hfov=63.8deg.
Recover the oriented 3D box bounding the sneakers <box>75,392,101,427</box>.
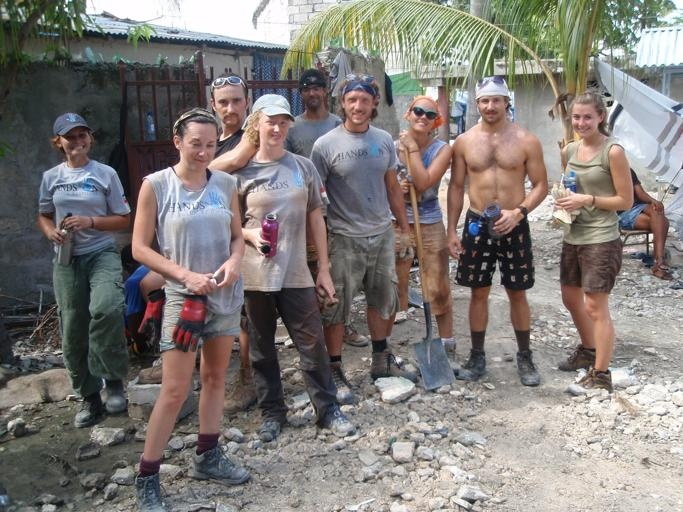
[{"bbox_3d":[-2.177,1.342,4.739,0.132,0.198,0.336,1,0,8],"label":"sneakers"}]

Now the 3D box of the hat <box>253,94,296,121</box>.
[{"bbox_3d":[-0.514,-1.127,4.101,0.287,0.192,0.269,-5,11,-10],"label":"hat"}]

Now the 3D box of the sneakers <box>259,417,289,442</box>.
[{"bbox_3d":[-0.552,1.360,4.320,0.090,0.115,0.264,-1,-3,12],"label":"sneakers"}]

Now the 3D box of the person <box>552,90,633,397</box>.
[{"bbox_3d":[2.266,-0.153,4.997,0.651,2.646,0.770,-2,11,2],"label":"person"}]

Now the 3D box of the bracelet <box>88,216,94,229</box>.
[{"bbox_3d":[-2.198,-0.299,4.836,0.043,0.098,0.030,-11,14,-37],"label":"bracelet"}]

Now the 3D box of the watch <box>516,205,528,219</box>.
[{"bbox_3d":[1.613,-0.399,4.930,0.074,0.116,0.105,-30,6,-6],"label":"watch"}]

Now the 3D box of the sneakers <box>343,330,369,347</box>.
[{"bbox_3d":[0.152,0.866,5.837,0.254,0.113,0.129,4,10,23],"label":"sneakers"}]

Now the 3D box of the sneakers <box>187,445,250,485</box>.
[{"bbox_3d":[-0.856,1.476,3.927,0.431,0.228,0.198,7,5,4],"label":"sneakers"}]

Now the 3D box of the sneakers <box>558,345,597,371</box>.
[{"bbox_3d":[2.315,0.993,5.355,0.438,0.276,0.149,-6,10,27],"label":"sneakers"}]

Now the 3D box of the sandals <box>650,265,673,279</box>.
[{"bbox_3d":[4.722,0.233,8.082,0.227,0.162,0.248,-2,11,5],"label":"sandals"}]

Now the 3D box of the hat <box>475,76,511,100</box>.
[{"bbox_3d":[1.357,-1.525,4.927,0.200,0.240,0.078,-1,18,16],"label":"hat"}]

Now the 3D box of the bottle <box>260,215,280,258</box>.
[{"bbox_3d":[-0.528,-0.150,4.050,0.137,0.334,0.176,-4,11,-5],"label":"bottle"}]

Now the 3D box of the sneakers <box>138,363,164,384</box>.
[{"bbox_3d":[-1.863,1.164,5.364,0.303,0.102,0.193,0,2,43],"label":"sneakers"}]

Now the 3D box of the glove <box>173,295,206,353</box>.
[{"bbox_3d":[-0.955,0.415,3.467,0.173,0.353,0.078,14,-28,-5],"label":"glove"}]

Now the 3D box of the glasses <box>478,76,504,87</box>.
[{"bbox_3d":[1.330,-1.569,4.904,0.215,0.092,0.220,0,11,12],"label":"glasses"}]

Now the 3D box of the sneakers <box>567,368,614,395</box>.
[{"bbox_3d":[2.256,1.124,4.956,0.490,0.233,0.181,-5,-1,5],"label":"sneakers"}]

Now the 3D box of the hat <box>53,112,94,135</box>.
[{"bbox_3d":[-2.408,-1.183,4.888,0.270,0.196,0.299,-7,12,-22],"label":"hat"}]

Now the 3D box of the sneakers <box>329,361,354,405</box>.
[{"bbox_3d":[-0.050,1.112,4.831,0.132,0.283,0.399,-18,17,-10],"label":"sneakers"}]

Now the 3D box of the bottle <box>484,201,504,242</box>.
[{"bbox_3d":[1.347,-0.295,4.914,0.150,0.326,0.236,0,11,13],"label":"bottle"}]
